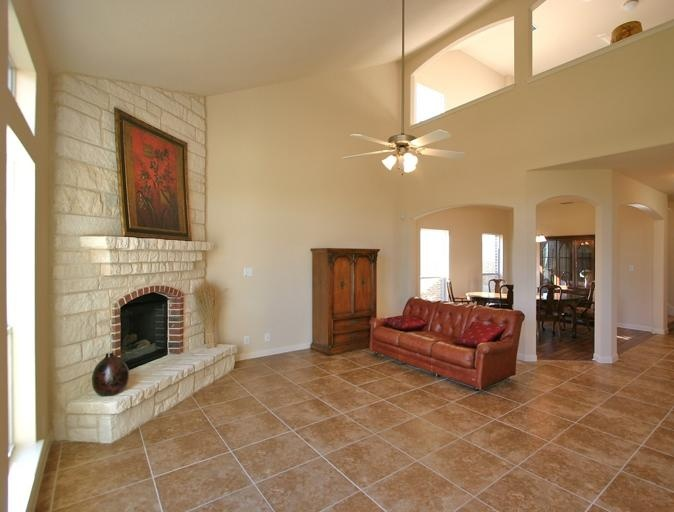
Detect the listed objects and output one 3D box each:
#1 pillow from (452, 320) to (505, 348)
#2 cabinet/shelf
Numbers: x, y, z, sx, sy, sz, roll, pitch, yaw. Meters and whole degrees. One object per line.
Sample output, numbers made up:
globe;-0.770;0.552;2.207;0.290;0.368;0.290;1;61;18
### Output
pillow;1.936;1.057;6.162;0.551;0.283;0.501;-6;9;-43
cabinet/shelf;0.114;0.711;7.477;1.063;1.698;0.631;-1;7;-6
